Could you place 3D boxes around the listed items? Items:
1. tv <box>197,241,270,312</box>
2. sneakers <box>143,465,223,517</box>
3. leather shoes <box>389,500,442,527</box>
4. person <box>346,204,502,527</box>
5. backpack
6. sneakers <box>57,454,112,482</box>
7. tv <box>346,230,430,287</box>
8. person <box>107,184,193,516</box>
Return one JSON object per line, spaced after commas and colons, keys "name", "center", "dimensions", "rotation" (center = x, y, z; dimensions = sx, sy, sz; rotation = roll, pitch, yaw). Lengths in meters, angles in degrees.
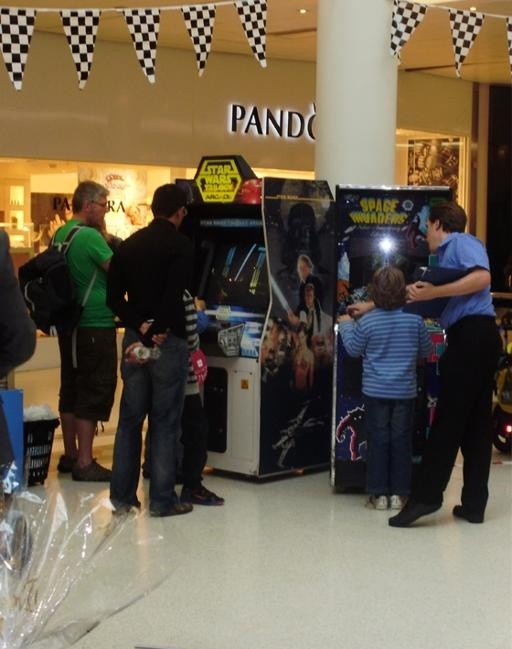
{"name": "tv", "center": [-0.181, -0.344, 4.384], "dimensions": [0.525, 0.548, 0.296], "rotation": [4, 5, -31]}
{"name": "sneakers", "center": [-0.364, 0.986, 3.606], "dimensions": [0.301, 0.241, 0.115], "rotation": [-1, -2, 10]}
{"name": "leather shoes", "center": [0.841, 0.992, 3.292], "dimensions": [0.201, 0.096, 0.076], "rotation": [-26, 5, 2]}
{"name": "person", "center": [0.993, 0.192, 3.272], "dimensions": [0.526, 1.735, 0.486], "rotation": [1, -1, 18]}
{"name": "backpack", "center": [-1.300, -0.251, 4.061], "dimensions": [0.475, 0.721, 0.451], "rotation": [0, -5, -42]}
{"name": "sneakers", "center": [-1.153, 0.892, 4.046], "dimensions": [0.432, 0.202, 0.170], "rotation": [1, -1, 7]}
{"name": "tv", "center": [0.777, -0.399, 3.710], "dimensions": [0.311, 0.260, 0.003], "rotation": [1, 6, 4]}
{"name": "person", "center": [-0.562, 0.127, 3.309], "dimensions": [0.487, 1.577, 0.399], "rotation": [2, -1, -9]}
